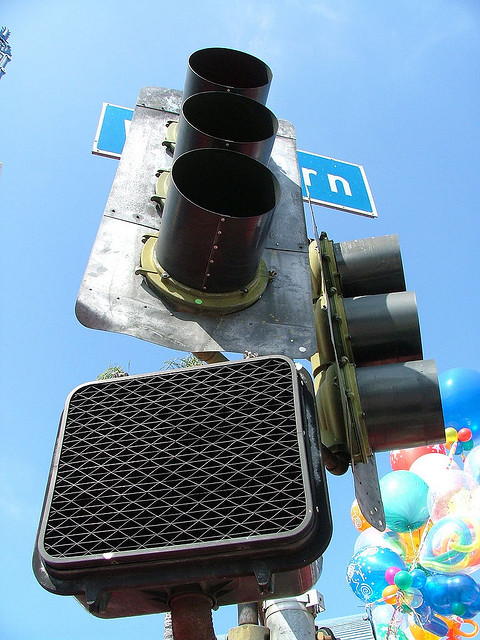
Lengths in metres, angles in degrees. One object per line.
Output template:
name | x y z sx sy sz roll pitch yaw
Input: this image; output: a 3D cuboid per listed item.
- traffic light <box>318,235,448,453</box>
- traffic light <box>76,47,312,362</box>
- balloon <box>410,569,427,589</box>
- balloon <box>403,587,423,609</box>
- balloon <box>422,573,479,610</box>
traffic light | 0.671 0.185 3.722 0.464 0.449 1.376 -10 47 4
traffic light | -0.147 -0.612 3.784 1.097 0.698 1.877 8 43 -6
balloon | 1.636 2.354 6.738 0.157 0.140 0.156 7 56 -5
balloon | 1.575 2.509 6.698 0.203 0.158 0.150 20 45 -29
balloon | 1.887 2.400 6.596 0.476 0.275 0.433 -7 79 16
